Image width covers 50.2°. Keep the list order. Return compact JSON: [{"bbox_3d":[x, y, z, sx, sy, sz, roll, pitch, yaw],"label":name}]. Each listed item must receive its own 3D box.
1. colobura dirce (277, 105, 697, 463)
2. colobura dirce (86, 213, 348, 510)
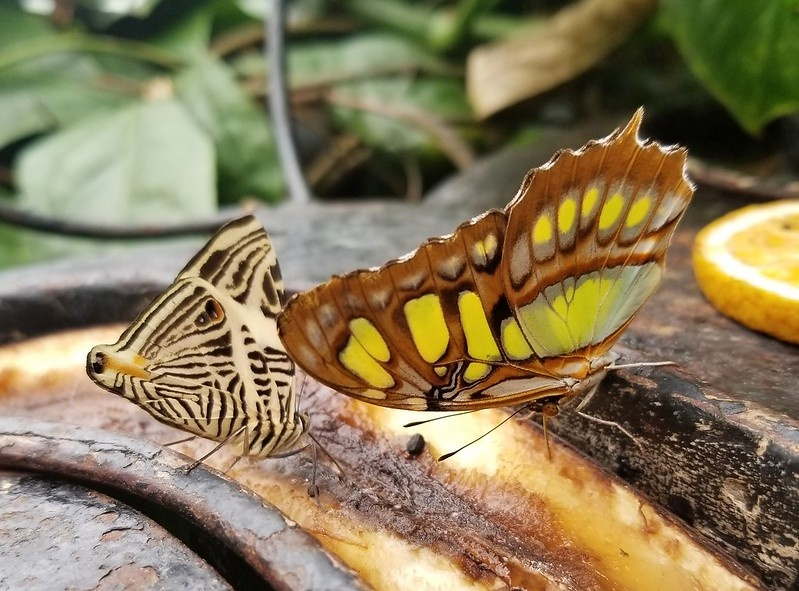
[{"bbox_3d":[0.213,0.028,1.564,0.817,0.601,0.287,-17,46,-12],"label":"colobura dirce"},{"bbox_3d":[-0.322,0.187,1.823,0.629,0.437,0.468,18,66,-18],"label":"colobura dirce"}]
